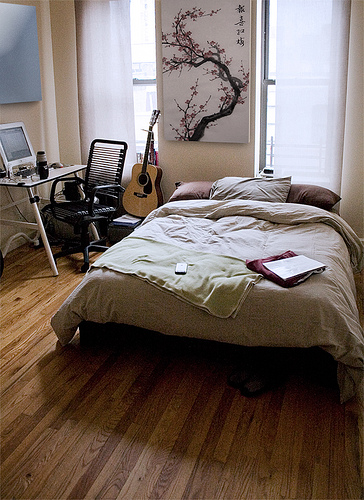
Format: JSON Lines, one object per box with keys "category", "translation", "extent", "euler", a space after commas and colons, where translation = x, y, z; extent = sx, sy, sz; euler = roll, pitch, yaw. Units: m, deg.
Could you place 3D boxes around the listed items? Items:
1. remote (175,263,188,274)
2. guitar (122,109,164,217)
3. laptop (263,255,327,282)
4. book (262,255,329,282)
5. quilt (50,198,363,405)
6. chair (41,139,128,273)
{"category": "remote", "translation": [-0.001, 0.096, 1.969], "extent": [0.033, 0.060, 0.060], "euler": [4, 21, 9]}
{"category": "guitar", "translation": [-0.331, -0.822, 3.812], "extent": [0.404, 0.998, 0.134], "euler": [12, 8, 28]}
{"category": "laptop", "translation": [0.539, 0.082, 1.877], "extent": [0.151, 0.023, 0.158], "euler": [-17, 22, -22]}
{"category": "book", "translation": [0.540, 0.084, 1.870], "extent": [0.149, 0.018, 0.157], "euler": [-17, 22, -23]}
{"category": "quilt", "translation": [0.303, 0.108, 2.426], "extent": [1.549, 0.714, 1.561], "euler": [4, 13, 21]}
{"category": "chair", "translation": [-0.917, -0.511, 3.532], "extent": [0.698, 1.240, 0.817], "euler": [12, 22, 35]}
